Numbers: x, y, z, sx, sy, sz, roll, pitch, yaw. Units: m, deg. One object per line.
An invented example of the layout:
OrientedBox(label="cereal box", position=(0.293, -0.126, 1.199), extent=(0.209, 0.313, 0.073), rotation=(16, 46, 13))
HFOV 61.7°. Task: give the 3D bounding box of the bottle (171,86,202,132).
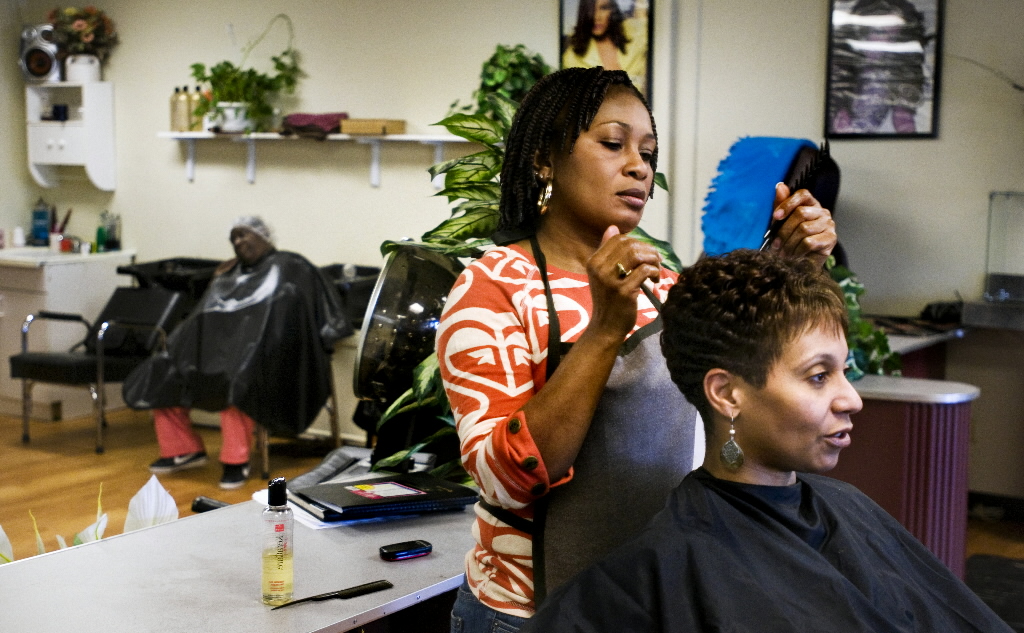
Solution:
OrientedBox(label="bottle", position=(-0.977, -0.620, 2.565), extent=(0.078, 0.136, 0.022), rotation=(-1, 5, -19))

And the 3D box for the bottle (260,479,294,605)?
OrientedBox(label="bottle", position=(-0.578, 0.552, 2.111), extent=(0.077, 0.305, 0.091), rotation=(-1, 5, -15))

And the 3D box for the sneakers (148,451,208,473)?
OrientedBox(label="sneakers", position=(-1.046, 0.456, 2.707), extent=(0.171, 0.062, 0.054), rotation=(-1, 5, -28))

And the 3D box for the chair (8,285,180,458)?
OrientedBox(label="chair", position=(-1.238, 0.145, 2.588), extent=(0.478, 0.507, 0.517), rotation=(2, 2, 27))

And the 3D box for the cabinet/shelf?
OrientedBox(label="cabinet/shelf", position=(-1.285, -0.521, 2.483), extent=(0.261, 0.319, 0.092), rotation=(1, 4, 11))

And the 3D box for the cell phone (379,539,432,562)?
OrientedBox(label="cell phone", position=(-0.288, 0.622, 2.302), extent=(0.112, 0.023, 0.055), rotation=(-2, 5, -35))

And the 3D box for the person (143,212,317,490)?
OrientedBox(label="person", position=(-0.969, 0.091, 2.979), extent=(0.734, 0.836, 0.643), rotation=(1, 7, -8))

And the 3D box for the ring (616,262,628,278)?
OrientedBox(label="ring", position=(0.208, -0.086, 1.618), extent=(0.020, 0.023, 0.024), rotation=(-1, -16, -7))

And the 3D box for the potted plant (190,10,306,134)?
OrientedBox(label="potted plant", position=(-0.845, -0.779, 2.794), extent=(0.406, 0.357, 0.299), rotation=(0, 4, -30))

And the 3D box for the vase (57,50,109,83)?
OrientedBox(label="vase", position=(-1.228, -0.711, 2.464), extent=(0.099, 0.062, 0.091), rotation=(-1, 3, -7))
